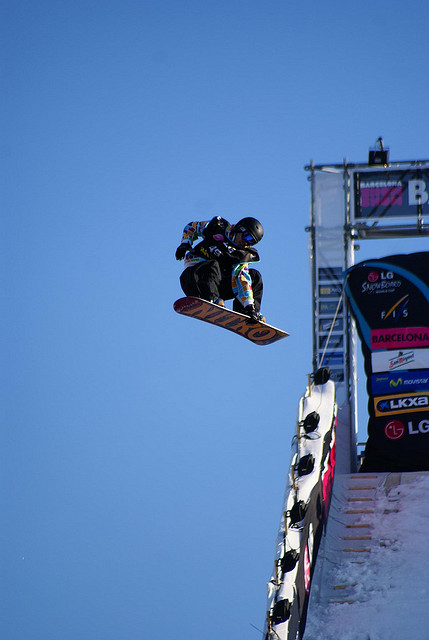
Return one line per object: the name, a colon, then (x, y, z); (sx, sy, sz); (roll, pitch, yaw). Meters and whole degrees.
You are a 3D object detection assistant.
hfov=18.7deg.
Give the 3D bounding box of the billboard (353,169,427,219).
billboard: (3.044, -2.213, 22.725); (1.282, 0.877, 0.229); (2, -23, 12)
